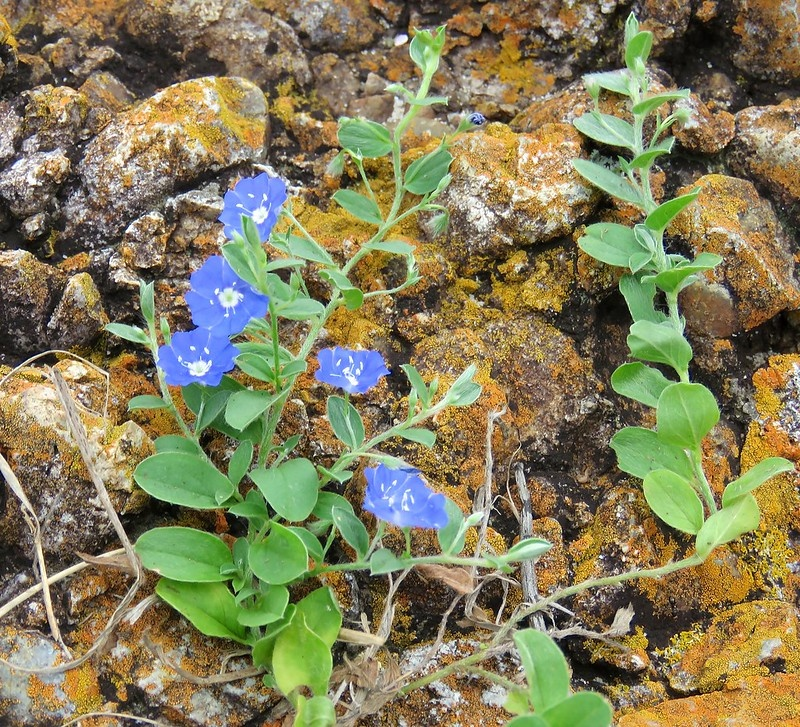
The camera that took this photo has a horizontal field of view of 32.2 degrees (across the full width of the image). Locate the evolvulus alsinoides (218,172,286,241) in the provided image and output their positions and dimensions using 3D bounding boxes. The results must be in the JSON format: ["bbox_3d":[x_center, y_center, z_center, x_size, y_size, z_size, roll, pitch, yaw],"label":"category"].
[{"bbox_3d":[-0.473,-0.506,4.481,0.195,0.136,0.250,17,68,4],"label":"evolvulus alsinoides"}]

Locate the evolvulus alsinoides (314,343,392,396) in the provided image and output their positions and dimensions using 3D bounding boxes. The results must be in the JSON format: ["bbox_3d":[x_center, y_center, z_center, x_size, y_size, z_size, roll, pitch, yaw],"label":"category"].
[{"bbox_3d":[-0.130,0.025,4.485,0.180,0.190,0.086,28,56,-33],"label":"evolvulus alsinoides"}]

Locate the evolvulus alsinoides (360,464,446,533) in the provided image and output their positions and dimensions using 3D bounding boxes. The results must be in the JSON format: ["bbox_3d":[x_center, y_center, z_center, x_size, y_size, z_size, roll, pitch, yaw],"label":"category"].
[{"bbox_3d":[0.019,0.463,4.380,0.256,0.489,0.225,1,66,-1],"label":"evolvulus alsinoides"}]

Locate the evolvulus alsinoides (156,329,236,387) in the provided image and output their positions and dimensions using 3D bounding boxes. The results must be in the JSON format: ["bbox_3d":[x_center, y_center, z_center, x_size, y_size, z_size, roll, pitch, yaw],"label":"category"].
[{"bbox_3d":[-0.656,-0.022,4.410,0.190,0.087,0.207,36,76,13],"label":"evolvulus alsinoides"}]
